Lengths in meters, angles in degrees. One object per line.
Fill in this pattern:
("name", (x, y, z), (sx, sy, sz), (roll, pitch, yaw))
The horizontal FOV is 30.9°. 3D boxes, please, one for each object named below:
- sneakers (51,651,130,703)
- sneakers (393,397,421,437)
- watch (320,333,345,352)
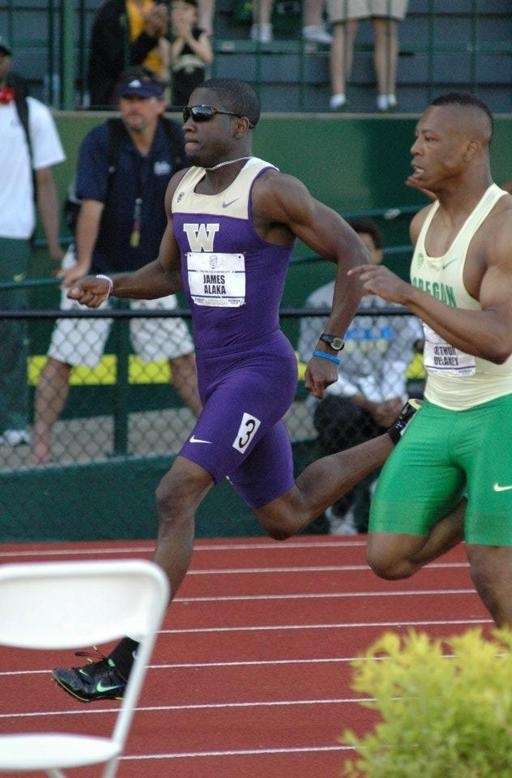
("sneakers", (-0.425, 0.788, 2.556), (0.256, 0.110, 0.085), (-2, 55, -29))
("sneakers", (0.561, 0.102, 3.443), (0.075, 0.165, 0.055), (21, 27, -22))
("watch", (0.245, -0.156, 3.056), (0.071, 0.033, 0.065), (25, 4, -29))
